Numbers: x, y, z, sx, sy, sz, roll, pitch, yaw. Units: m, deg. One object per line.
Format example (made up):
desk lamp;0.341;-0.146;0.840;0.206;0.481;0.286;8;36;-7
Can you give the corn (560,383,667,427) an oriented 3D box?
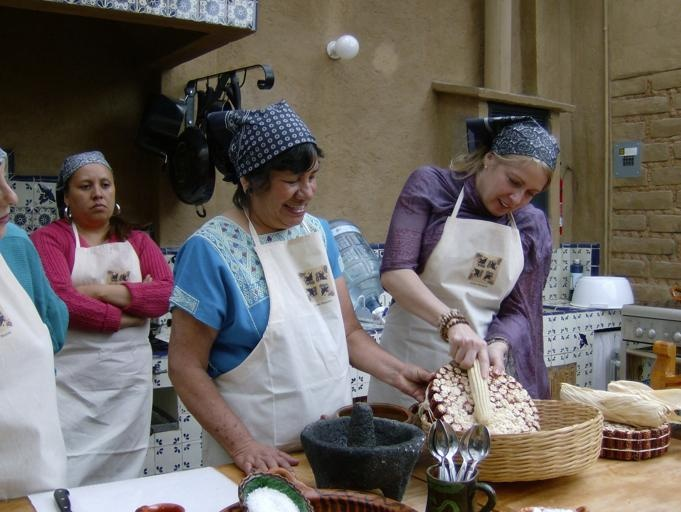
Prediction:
corn;0.956;0.526;2.236;0.246;0.127;0.402;20;-14;-30

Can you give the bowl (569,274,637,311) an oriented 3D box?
bowl;2.007;0.309;5.023;0.452;0.254;0.501;0;-10;-5

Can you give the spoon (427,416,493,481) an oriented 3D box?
spoon;0.296;0.485;1.648;0.126;0.145;0.137;3;2;42
